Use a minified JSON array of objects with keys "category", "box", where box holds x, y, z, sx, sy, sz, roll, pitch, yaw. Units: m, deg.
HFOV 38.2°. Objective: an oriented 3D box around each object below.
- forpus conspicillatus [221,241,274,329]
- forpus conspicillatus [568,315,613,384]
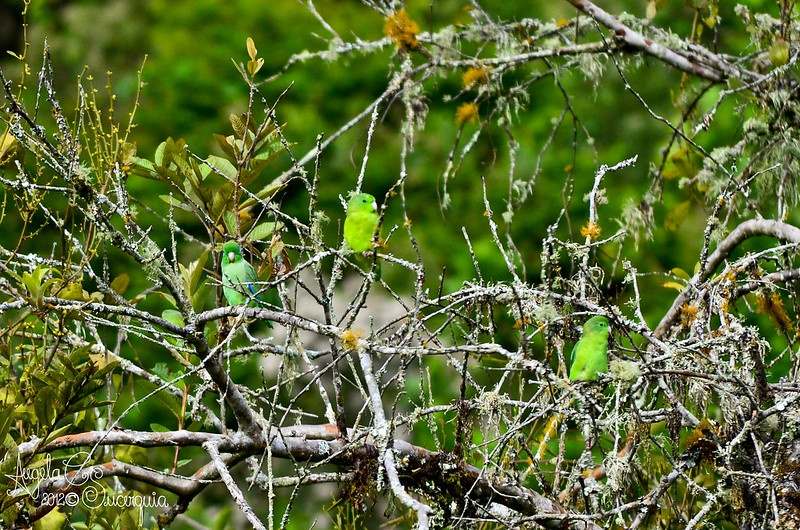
[{"category":"forpus conspicillatus","box":[-1.185,0.137,8.800,0.266,0.454,0.639,-23,65,11]},{"category":"forpus conspicillatus","box":[1.359,0.641,8.396,0.364,0.262,0.550,-13,68,38]}]
